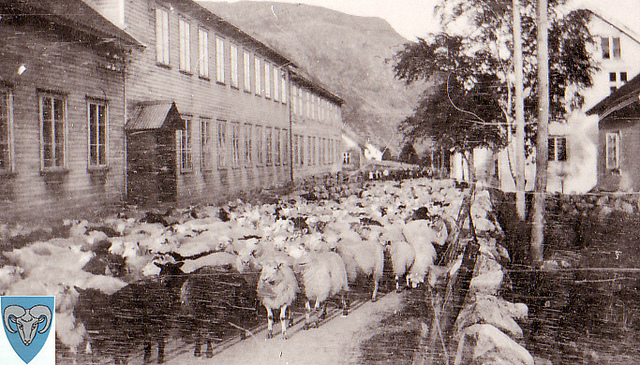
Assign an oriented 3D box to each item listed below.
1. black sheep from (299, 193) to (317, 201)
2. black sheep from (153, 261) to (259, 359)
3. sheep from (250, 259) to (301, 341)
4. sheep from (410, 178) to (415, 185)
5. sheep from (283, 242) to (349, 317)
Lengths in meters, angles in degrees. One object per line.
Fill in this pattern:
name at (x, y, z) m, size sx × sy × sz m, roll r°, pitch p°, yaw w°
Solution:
black sheep at (-0.378, 0.520, 21.035) m, size 0.232 × 0.201 × 0.566 m, roll 2°, pitch -6°, yaw 25°
black sheep at (-2.269, 2.456, 12.221) m, size 1.506 × 2.093 × 1.363 m, roll 0°, pitch 0°, yaw -12°
sheep at (-0.833, 2.411, 11.959) m, size 0.621 × 1.394 × 1.764 m, roll -3°, pitch -9°, yaw 6°
sheep at (3.124, -0.043, 20.054) m, size 0.139 × 0.153 × 0.274 m, roll -4°, pitch -10°, yaw 5°
sheep at (-0.142, 1.991, 12.189) m, size 0.754 × 1.712 × 1.969 m, roll 4°, pitch 9°, yaw 22°
